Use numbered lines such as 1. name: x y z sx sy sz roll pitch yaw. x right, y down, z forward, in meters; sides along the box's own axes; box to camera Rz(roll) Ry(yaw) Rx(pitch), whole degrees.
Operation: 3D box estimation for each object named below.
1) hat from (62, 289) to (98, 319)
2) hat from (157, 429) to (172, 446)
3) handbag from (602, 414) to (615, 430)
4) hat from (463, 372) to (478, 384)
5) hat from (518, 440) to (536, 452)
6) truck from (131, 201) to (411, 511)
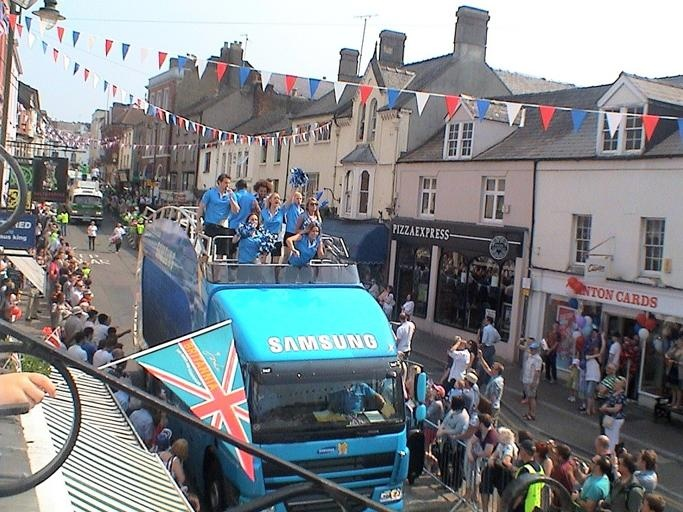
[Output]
1. hat: -6.898 1.278 15.373 0.374 0.919 0.513 38 4 28
2. hat: -2.869 2.973 9.577 0.174 0.289 0.095 4 0 7
3. handbag: 5.588 3.493 12.282 0.219 0.281 0.245 3 -5 8
4. hat: 2.492 2.370 11.358 0.164 0.136 0.249 7 33 -27
5. hat: 2.752 2.830 8.642 0.187 0.150 0.256 6 3 13
6. truck: -1.851 1.513 10.999 2.526 4.119 7.481 0 2 -25
